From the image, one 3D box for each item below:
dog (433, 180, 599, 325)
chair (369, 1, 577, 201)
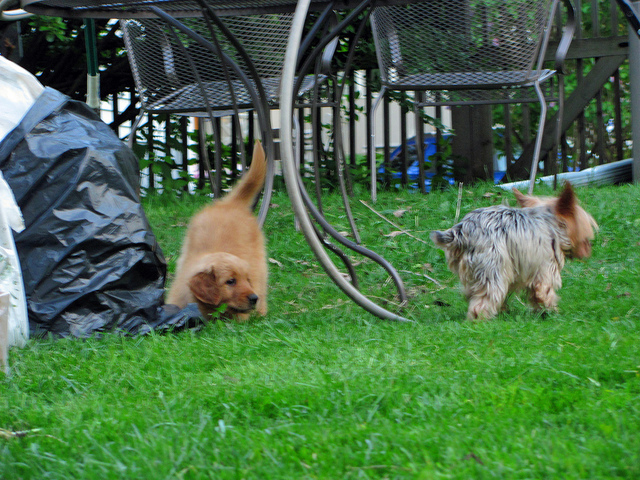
[{"bbox_3d":[0.922,0.064,3.036,0.856,0.597,0.377,-5,6,-24],"label":"dog"},{"bbox_3d":[1.107,-0.896,4.457,1.163,1.277,1.758,2,14,20],"label":"chair"}]
